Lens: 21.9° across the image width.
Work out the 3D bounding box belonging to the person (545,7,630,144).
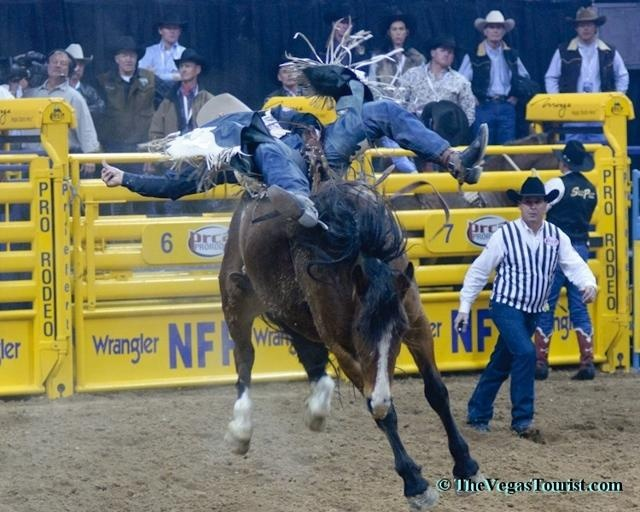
[{"bbox_3d":[2.943,-1.999,18.158,0.918,1.427,1.689,-1,9,6],"label":"person"}]

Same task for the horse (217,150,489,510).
[{"bbox_3d":[0.099,0.657,13.720,2.050,2.585,0.886,7,13,41],"label":"horse"}]

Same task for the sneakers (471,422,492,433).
[{"bbox_3d":[1.436,1.505,14.752,0.146,0.056,0.082,22,-1,25],"label":"sneakers"}]

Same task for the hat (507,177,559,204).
[{"bbox_3d":[1.912,-0.579,14.939,0.293,0.122,0.327,1,-16,3],"label":"hat"}]
